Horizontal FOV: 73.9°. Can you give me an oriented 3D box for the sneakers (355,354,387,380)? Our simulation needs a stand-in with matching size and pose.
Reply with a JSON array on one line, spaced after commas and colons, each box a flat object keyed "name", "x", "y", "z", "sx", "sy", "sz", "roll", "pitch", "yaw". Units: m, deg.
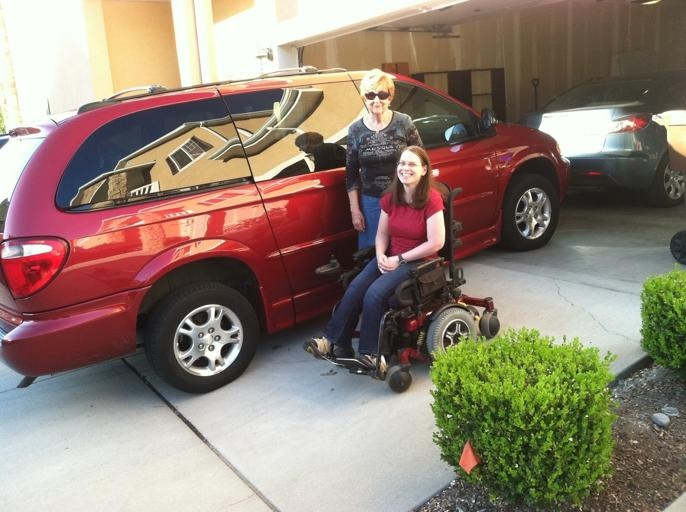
[{"name": "sneakers", "x": 0.156, "y": 0.775, "z": 3.215, "sx": 0.309, "sy": 0.123, "sz": 0.104, "roll": 4, "pitch": -4, "yaw": -14}]

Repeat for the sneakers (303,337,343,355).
[{"name": "sneakers", "x": -0.164, "y": 0.661, "z": 3.400, "sx": 0.294, "sy": 0.143, "sz": 0.115, "roll": 10, "pitch": 31, "yaw": -36}]

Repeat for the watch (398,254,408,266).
[{"name": "watch", "x": 0.427, "y": 0.028, "z": 3.356, "sx": 0.053, "sy": 0.080, "sz": 0.071, "roll": -13, "pitch": 44, "yaw": 4}]

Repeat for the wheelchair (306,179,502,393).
[{"name": "wheelchair", "x": 0.541, "y": 0.147, "z": 3.680, "sx": 1.496, "sy": 1.325, "sz": 1.417, "roll": -6, "pitch": 14, "yaw": 5}]

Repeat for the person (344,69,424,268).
[{"name": "person", "x": 0.359, "y": -0.526, "z": 3.930, "sx": 0.677, "sy": 1.974, "sz": 0.606, "roll": -9, "pitch": 35, "yaw": -4}]
